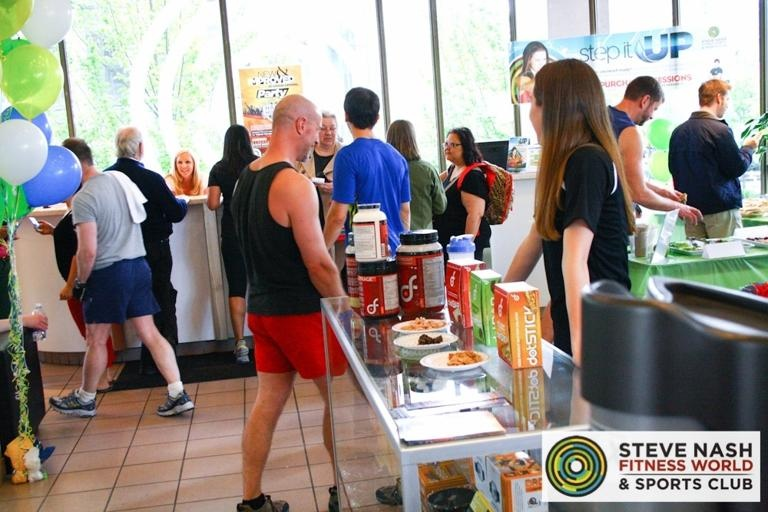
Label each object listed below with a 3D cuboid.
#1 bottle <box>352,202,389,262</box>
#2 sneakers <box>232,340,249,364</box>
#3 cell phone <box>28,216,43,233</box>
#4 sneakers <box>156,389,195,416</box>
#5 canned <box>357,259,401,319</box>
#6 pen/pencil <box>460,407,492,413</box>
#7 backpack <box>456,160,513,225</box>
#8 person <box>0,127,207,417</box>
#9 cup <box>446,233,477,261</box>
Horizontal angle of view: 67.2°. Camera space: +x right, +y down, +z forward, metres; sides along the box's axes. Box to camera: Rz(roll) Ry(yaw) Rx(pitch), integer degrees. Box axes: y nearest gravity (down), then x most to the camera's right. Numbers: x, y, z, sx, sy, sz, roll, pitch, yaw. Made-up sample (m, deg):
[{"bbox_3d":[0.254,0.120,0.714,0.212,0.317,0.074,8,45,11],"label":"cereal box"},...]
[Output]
[{"bbox_3d":[-0.042,-0.071,1.771,0.108,0.167,0.153,-3,9,-2],"label":"bottle"},{"bbox_3d":[-1.234,0.824,4.979,0.099,0.115,0.260,-2,0,-12],"label":"sneakers"},{"bbox_3d":[-2.915,-0.259,4.835,0.011,0.103,0.151,-26,12,0],"label":"cell phone"},{"bbox_3d":[-1.457,1.010,3.964,0.321,0.148,0.120,-7,-1,29],"label":"sneakers"},{"bbox_3d":[-0.034,0.099,1.692,0.164,0.170,0.158,-1,-2,-6],"label":"canned"},{"bbox_3d":[0.164,0.276,1.036,0.053,0.004,0.014,-3,9,-5],"label":"pen/pencil"},{"bbox_3d":[0.735,-0.448,4.080,0.516,0.462,0.348,-1,14,-11],"label":"backpack"},{"bbox_3d":[-1.775,0.276,3.823,0.808,1.650,0.387,-6,10,-21],"label":"person"},{"bbox_3d":[0.243,-0.035,1.878,0.100,0.093,0.098,1,5,0],"label":"cup"}]
